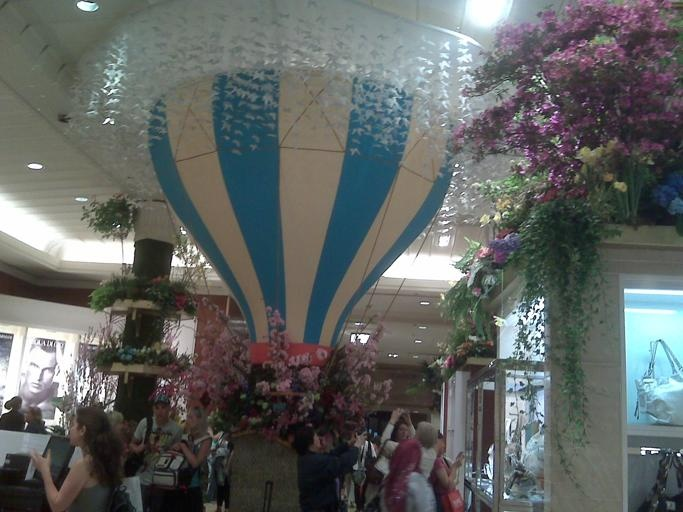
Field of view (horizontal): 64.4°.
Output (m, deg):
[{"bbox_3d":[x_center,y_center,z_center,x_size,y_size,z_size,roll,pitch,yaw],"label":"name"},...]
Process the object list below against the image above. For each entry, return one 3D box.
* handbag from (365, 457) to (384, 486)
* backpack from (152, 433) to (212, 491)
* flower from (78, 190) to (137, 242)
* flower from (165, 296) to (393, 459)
[{"bbox_3d":[0.261,1.832,4.605,0.143,0.215,0.201,4,-5,1],"label":"handbag"},{"bbox_3d":[-1.358,1.768,4.687,0.469,0.498,0.458,22,-26,-37],"label":"backpack"},{"bbox_3d":[-4.027,-0.736,9.287,0.699,0.692,0.795,-13,-22,-5],"label":"flower"},{"bbox_3d":[-0.562,1.186,5.083,1.427,0.991,1.291,9,-12,-22],"label":"flower"}]
